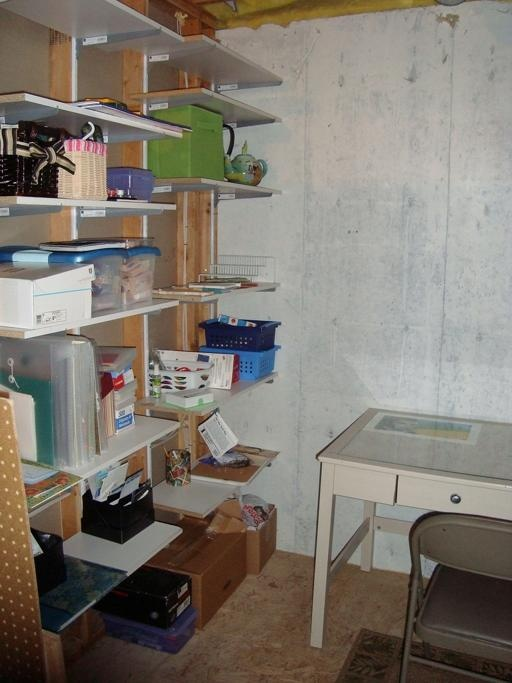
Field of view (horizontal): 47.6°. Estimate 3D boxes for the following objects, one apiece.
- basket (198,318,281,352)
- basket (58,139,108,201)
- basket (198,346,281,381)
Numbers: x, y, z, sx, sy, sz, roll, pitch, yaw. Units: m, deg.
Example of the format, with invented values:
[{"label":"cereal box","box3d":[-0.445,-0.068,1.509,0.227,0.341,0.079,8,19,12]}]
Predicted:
[{"label":"basket","box3d":[-0.079,-0.061,2.703,0.242,0.084,0.203,1,5,23]},{"label":"basket","box3d":[-0.454,-0.446,1.503,0.107,0.168,0.184,1,12,5]},{"label":"basket","box3d":[-0.087,0.083,2.737,0.258,0.091,0.188,1,4,26]}]
